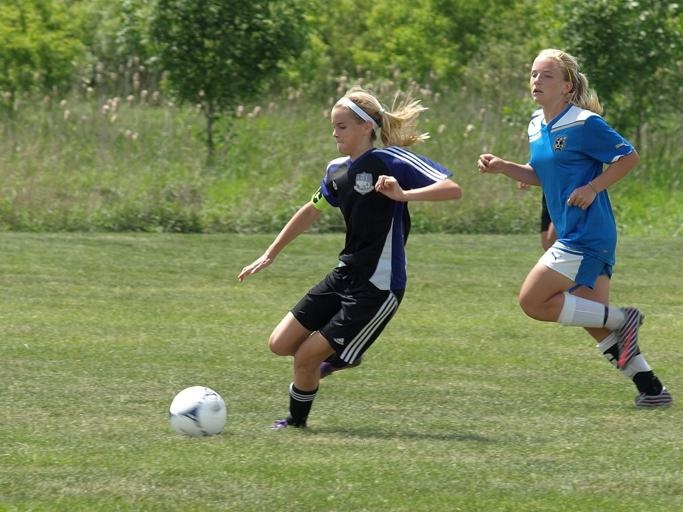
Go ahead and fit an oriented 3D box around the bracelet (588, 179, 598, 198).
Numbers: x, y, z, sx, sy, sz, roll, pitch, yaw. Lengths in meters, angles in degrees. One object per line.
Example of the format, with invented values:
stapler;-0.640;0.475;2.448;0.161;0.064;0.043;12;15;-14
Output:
bracelet;2.120;-0.569;10.165;0.050;0.110;0.120;-26;-6;12

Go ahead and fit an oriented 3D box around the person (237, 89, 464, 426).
person;0.118;0.018;10.143;1.407;2.852;0.964;6;10;-10

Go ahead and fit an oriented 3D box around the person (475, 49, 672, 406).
person;2.041;-0.258;10.361;1.613;3.030;0.819;15;12;39

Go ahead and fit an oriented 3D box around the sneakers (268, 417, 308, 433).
sneakers;-0.435;1.408;9.985;0.357;0.091;0.095;3;-10;1

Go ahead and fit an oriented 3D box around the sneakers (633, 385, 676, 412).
sneakers;2.684;1.238;10.297;0.361;0.136;0.143;2;-2;8

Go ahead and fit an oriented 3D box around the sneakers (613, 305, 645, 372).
sneakers;2.444;0.713;10.223;0.254;0.485;0.268;9;15;14
